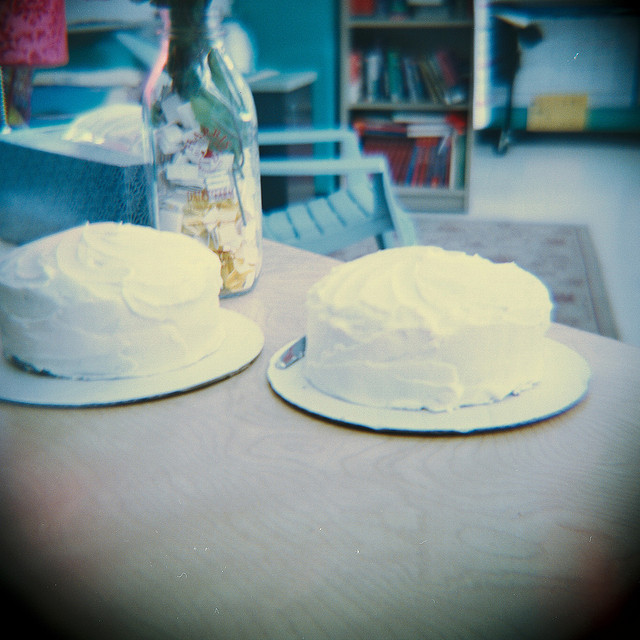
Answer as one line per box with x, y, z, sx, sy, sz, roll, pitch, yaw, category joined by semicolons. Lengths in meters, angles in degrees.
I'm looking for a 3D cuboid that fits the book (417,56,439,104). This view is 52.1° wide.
0.572;-1.267;3.458;0.043;0.183;0.178;-16;20;19;book

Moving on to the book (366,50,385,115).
0.295;-1.308;3.517;0.098;0.252;0.026;-1;15;0;book

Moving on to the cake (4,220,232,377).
-0.156;-0.019;0.476;0.133;0.073;0.132;-1;20;-5;cake

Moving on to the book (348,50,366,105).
0.200;-1.306;3.522;0.091;0.279;0.047;-3;15;-6;book

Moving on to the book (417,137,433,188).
0.591;-0.882;3.669;0.049;0.271;0.107;-6;16;-18;book

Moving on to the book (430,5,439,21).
0.571;-1.539;3.281;0.051;0.068;0.012;-5;16;-15;book

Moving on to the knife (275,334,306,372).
-0.022;0.027;0.520;0.010;0.010;0.038;31;31;7;knife

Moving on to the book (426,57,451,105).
0.626;-1.272;3.450;0.028;0.252;0.035;-25;18;5;book

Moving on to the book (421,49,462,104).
0.640;-1.270;3.448;0.072;0.247;0.180;-22;15;8;book

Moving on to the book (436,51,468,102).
0.705;-1.277;3.437;0.046;0.203;0.195;-21;34;6;book

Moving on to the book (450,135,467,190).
0.794;-0.865;3.682;0.037;0.349;0.087;3;-18;6;book

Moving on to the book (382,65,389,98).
0.353;-1.280;3.523;0.021;0.155;0.042;-12;19;-33;book

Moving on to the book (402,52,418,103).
0.475;-1.286;3.472;0.082;0.240;0.025;0;16;6;book

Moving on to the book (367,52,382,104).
0.291;-1.308;3.520;0.077;0.241;0.031;-1;15;3;book

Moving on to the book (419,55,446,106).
0.593;-1.276;3.453;0.051;0.200;0.195;-20;25;17;book

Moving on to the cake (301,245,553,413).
0.068;0.004;0.506;0.171;0.096;0.167;2;7;-5;cake

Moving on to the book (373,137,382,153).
0.312;-0.970;3.627;0.041;0.080;0.010;0;15;3;book

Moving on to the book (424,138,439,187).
0.624;-0.879;3.665;0.050;0.267;0.105;-4;15;-9;book

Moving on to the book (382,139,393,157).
0.372;-0.953;3.623;0.051;0.090;0.019;-1;15;2;book

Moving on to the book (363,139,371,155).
0.255;-0.964;3.639;0.046;0.078;0.027;-4;16;-11;book

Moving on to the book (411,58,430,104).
0.528;-1.265;3.468;0.047;0.182;0.179;-7;18;18;book
